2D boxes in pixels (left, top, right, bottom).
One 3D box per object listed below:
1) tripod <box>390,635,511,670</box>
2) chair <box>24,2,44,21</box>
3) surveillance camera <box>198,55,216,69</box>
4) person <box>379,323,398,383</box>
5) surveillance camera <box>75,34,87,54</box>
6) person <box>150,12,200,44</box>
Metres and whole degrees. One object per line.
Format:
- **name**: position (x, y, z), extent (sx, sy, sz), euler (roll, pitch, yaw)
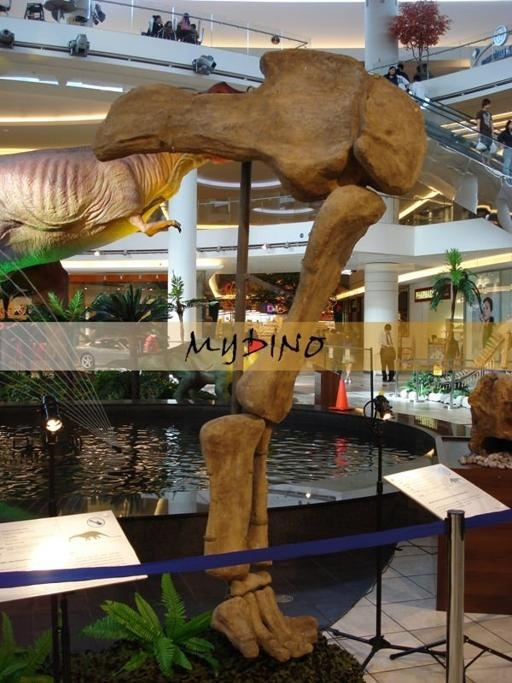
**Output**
- **tripod**: position (0.772, 1.232, 2.339), extent (0.397, 0.145, 0.387), euler (-12, -18, 20)
- **chair**: position (-4.450, -6.656, 11.763), extent (0.388, 0.494, 0.275), euler (2, 2, -19)
- **surveillance camera**: position (-1.068, -6.014, 12.568), extent (0.304, 0.291, 0.288), euler (15, -33, -5)
- **person**: position (3.025, 0.291, 13.449), extent (0.381, 1.391, 1.778), euler (3, 2, 13)
- **surveillance camera**: position (-3.440, -5.899, 11.588), extent (0.185, 0.347, 0.286), euler (2, 2, -17)
- **person**: position (-1.768, -6.846, 12.869), extent (0.938, 0.438, 0.887), euler (1, 29, -12)
